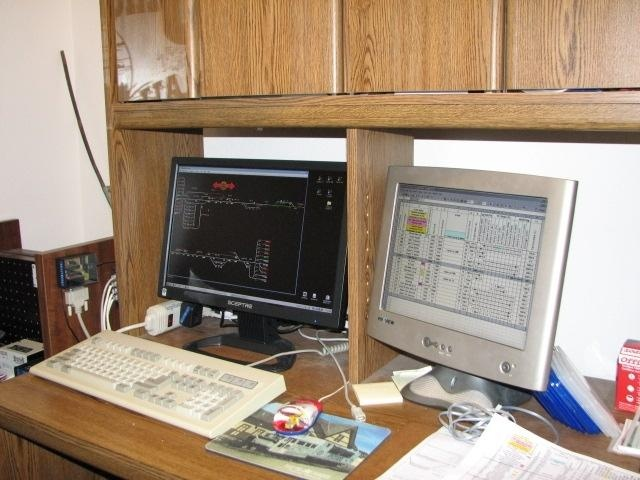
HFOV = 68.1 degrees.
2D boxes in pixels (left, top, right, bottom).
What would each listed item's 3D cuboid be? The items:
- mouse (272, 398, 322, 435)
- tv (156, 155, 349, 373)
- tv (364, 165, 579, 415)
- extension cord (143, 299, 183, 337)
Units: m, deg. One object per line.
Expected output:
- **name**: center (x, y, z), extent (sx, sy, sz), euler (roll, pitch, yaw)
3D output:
- **mouse**: center (-0.052, 0.394, 1.093), extent (0.096, 0.040, 0.132), euler (2, 15, 26)
- **tv**: center (-0.217, 0.060, 1.474), extent (0.716, 0.594, 0.232), euler (5, 8, 29)
- **tv**: center (0.351, 0.123, 1.146), extent (0.552, 0.565, 0.333), euler (11, 17, 37)
- **extension cord**: center (-0.527, 0.263, 1.610), extent (0.055, 0.100, 0.192), euler (5, 4, 16)
